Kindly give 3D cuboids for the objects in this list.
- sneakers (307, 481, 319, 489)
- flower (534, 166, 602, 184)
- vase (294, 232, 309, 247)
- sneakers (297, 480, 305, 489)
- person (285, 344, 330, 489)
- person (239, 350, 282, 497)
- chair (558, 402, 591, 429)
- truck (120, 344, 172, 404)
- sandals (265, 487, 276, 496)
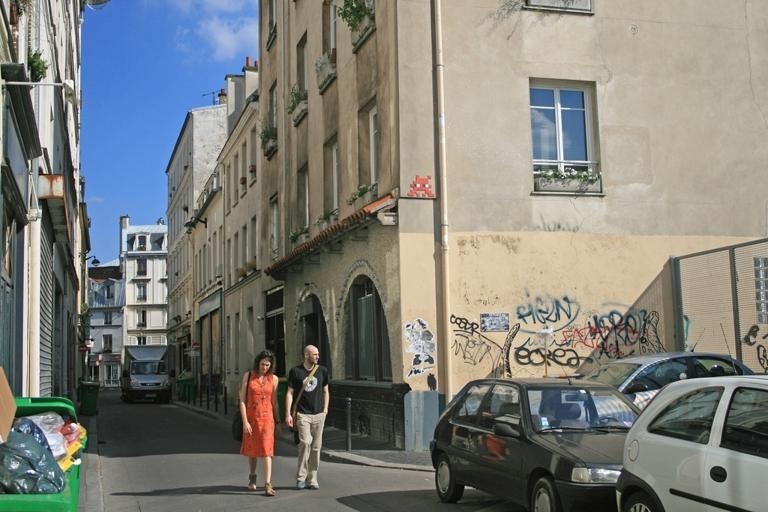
[{"bbox_3d":[-1.243,4.174,16.813,0.218,0.120,0.156,0,-7,-17],"label":"sneakers"},{"bbox_3d":[4.457,-1.935,22.487,1.079,0.332,0.668,1,0,-9],"label":"flower"},{"bbox_3d":[-2.477,-0.529,28.522,0.315,0.422,0.616,9,-30,-20],"label":"vase"},{"bbox_3d":[-1.476,4.151,16.790,0.139,0.143,0.137,4,-6,-28],"label":"sneakers"},{"bbox_3d":[-1.373,2.954,17.001,0.734,2.578,0.811,-2,-6,-3],"label":"person"},{"bbox_3d":[-2.178,2.958,16.439,0.650,2.546,0.393,-1,-6,-9],"label":"person"},{"bbox_3d":[2.969,2.499,14.497,0.377,0.474,0.384,2,-16,-2],"label":"chair"},{"bbox_3d":[-13.240,6.490,51.165,2.404,3.245,6.290,2,-6,-22],"label":"truck"},{"bbox_3d":[-1.978,4.146,16.356,0.170,0.181,0.350,-1,-7,-7],"label":"sandals"}]
